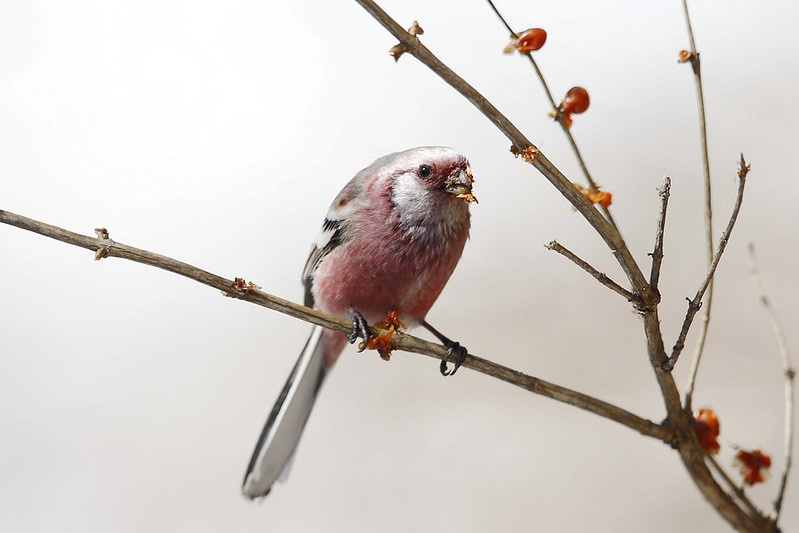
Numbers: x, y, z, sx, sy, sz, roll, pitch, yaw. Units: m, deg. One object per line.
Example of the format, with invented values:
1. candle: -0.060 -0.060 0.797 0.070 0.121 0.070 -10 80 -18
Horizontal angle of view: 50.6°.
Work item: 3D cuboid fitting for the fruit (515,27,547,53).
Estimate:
1. fruit: 0.385 -0.653 2.441 0.098 0.149 0.064 -13 -75 4
